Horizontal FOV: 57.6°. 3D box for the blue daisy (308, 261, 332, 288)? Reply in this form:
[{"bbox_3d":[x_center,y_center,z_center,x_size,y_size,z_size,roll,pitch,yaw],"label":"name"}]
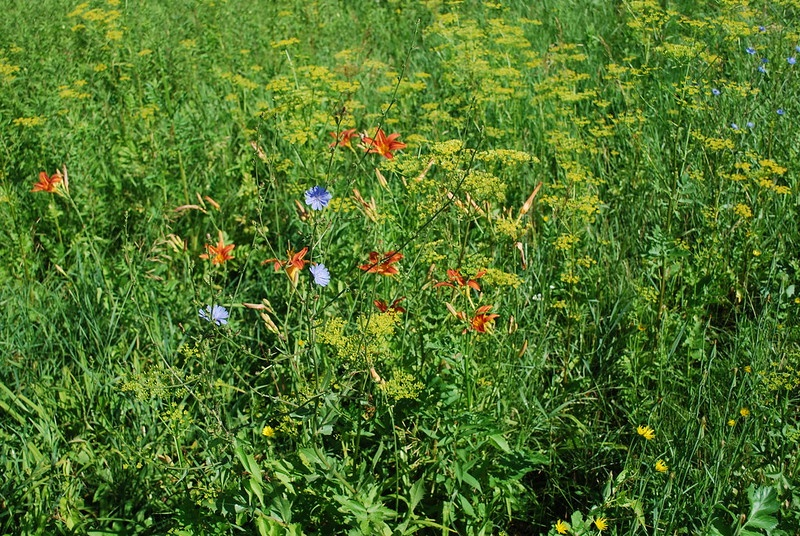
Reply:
[{"bbox_3d":[-0.399,0.043,3.664,0.032,0.113,0.098,-16,-28,37],"label":"blue daisy"}]

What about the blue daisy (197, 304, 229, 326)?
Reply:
[{"bbox_3d":[-0.959,0.233,3.774,0.134,0.052,0.149,19,32,15],"label":"blue daisy"}]

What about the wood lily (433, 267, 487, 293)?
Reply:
[{"bbox_3d":[0.328,0.048,3.819,0.243,0.128,0.221,-2,25,21],"label":"wood lily"}]

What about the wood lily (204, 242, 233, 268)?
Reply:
[{"bbox_3d":[-0.986,-0.062,3.921,0.129,0.063,0.145,13,58,7],"label":"wood lily"}]

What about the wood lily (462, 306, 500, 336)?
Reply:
[{"bbox_3d":[0.429,0.229,3.807,0.135,0.176,0.068,18,19,-4],"label":"wood lily"}]

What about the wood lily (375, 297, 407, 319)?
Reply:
[{"bbox_3d":[-0.052,0.199,3.781,0.097,0.046,0.116,-7,44,-4],"label":"wood lily"}]

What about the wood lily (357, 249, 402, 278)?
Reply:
[{"bbox_3d":[-0.095,-0.037,3.760,0.145,0.084,0.162,-1,25,28],"label":"wood lily"}]
